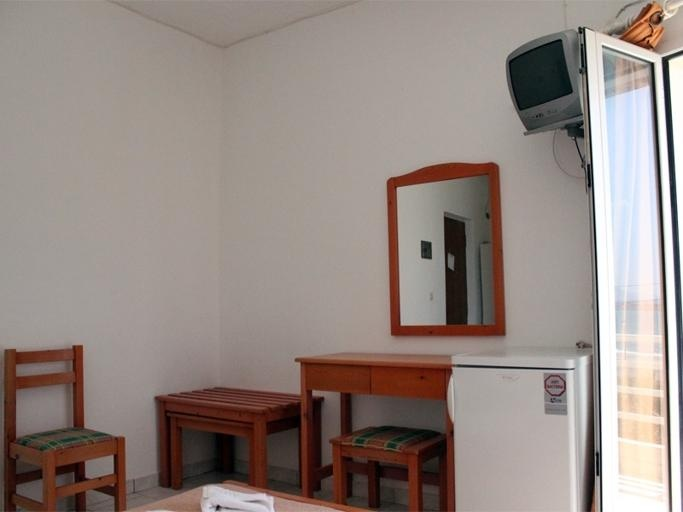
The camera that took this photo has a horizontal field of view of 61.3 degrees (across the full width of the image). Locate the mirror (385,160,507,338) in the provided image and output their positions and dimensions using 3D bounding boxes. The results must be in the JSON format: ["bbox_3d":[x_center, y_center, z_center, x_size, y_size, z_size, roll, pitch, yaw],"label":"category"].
[{"bbox_3d":[0.748,-0.031,3.953,1.080,1.643,0.103,-5,-8,33],"label":"mirror"}]

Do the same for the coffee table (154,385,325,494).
[{"bbox_3d":[-0.786,1.436,4.473,1.067,0.726,0.758,-3,-5,31],"label":"coffee table"}]

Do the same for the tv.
[{"bbox_3d":[1.203,-1.018,3.353,0.437,0.515,0.291,-8,13,44],"label":"tv"}]

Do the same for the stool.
[{"bbox_3d":[0.306,1.219,3.767,0.685,0.679,0.551,-4,-7,38],"label":"stool"}]
